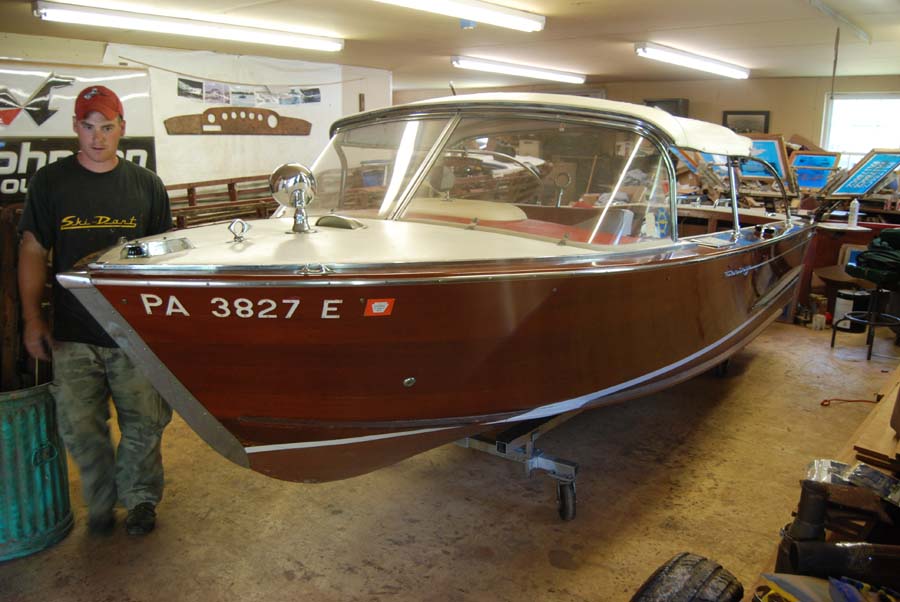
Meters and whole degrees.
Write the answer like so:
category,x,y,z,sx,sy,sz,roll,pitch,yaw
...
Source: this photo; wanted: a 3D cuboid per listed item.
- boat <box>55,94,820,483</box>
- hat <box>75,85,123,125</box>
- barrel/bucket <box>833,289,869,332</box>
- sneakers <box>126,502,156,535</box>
category,x,y,z,sx,sy,sz,roll,pitch,yaw
boat,0.371,-0.138,3.548,3.762,1.136,1.882,-6,10,-43
hat,-1.840,-1.010,3.156,0.189,0.138,0.253,-1,7,-21
barrel/bucket,3.989,0.105,5.995,0.355,0.355,0.345,-1,16,0
sneakers,-1.672,1.175,3.243,0.157,0.166,0.048,4,-2,-26
